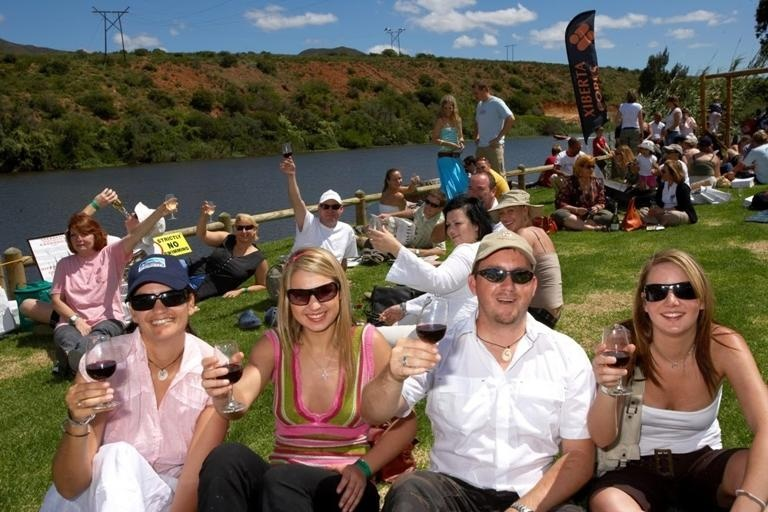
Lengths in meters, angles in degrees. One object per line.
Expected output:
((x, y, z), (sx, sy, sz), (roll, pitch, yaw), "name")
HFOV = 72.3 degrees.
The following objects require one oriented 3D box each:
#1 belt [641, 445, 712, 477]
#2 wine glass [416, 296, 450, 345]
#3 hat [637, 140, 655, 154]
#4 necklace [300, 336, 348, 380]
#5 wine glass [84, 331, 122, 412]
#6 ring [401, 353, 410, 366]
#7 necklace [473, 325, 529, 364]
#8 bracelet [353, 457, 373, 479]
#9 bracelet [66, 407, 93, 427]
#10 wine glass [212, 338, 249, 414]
((2.225, 1.598, 4.030), (0.365, 0.128, 0.277), (-5, -9, -3), "belt")
((0.356, 0.479, 3.833), (0.236, 0.370, 0.150), (-6, 11, -23), "wine glass")
((6.769, -2.805, 13.596), (0.295, 0.318, 0.409), (6, 12, 41), "hat")
((-0.493, 0.807, 4.181), (0.311, 0.325, 0.097), (0, -5, 3), "necklace")
((-2.078, 0.787, 3.891), (0.211, 0.408, 0.435), (-7, 11, -27), "wine glass")
((0.152, 0.719, 3.614), (0.025, 0.072, 0.051), (7, 0, -41), "ring")
((0.879, 0.664, 3.890), (0.239, 0.129, 0.337), (-1, 48, 1), "necklace")
((-0.163, 1.579, 3.886), (0.053, 0.124, 0.132), (-44, 31, -5), "bracelet")
((-2.103, 1.123, 3.655), (0.191, 0.119, 0.055), (-1, 10, 5), "bracelet")
((-1.129, 0.914, 3.895), (0.184, 0.527, 0.245), (-5, 10, -16), "wine glass")
